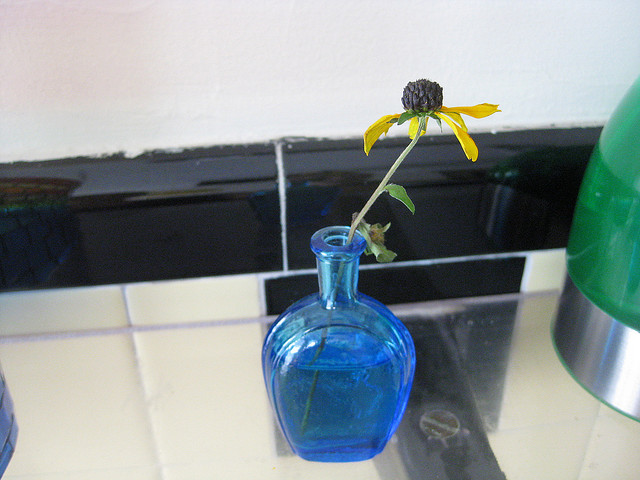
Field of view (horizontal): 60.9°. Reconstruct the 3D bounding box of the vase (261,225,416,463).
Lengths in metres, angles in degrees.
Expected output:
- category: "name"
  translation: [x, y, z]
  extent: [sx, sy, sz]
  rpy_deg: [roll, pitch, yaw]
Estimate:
- category: "vase"
  translation: [0.020, 0.115, 0.568]
  extent: [0.143, 0.215, 0.083]
  rpy_deg: [-4, 14, -10]
